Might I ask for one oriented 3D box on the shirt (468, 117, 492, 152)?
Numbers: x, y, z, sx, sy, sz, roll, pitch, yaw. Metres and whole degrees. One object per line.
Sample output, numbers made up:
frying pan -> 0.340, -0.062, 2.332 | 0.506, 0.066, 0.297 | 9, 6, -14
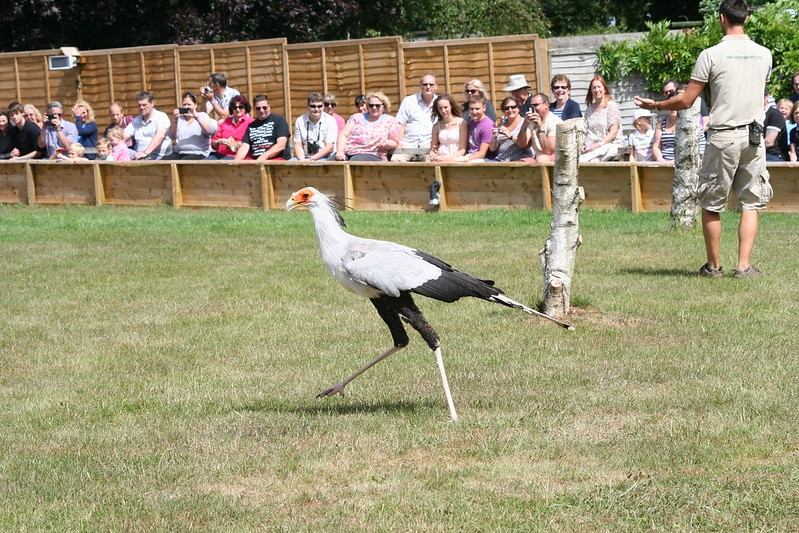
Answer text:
shirt -> 1.590, -2.573, 30.743 | 0.448, 0.647, 0.749 | 1, 3, -40

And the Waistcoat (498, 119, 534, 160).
Waistcoat -> 2.215, -2.450, 30.555 | 0.435, 0.734, 0.837 | -15, 18, -40

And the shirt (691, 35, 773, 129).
shirt -> 5.010, -2.799, 23.904 | 1.157, 1.371, 0.579 | -1, 14, 8

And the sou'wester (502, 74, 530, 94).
sou'wester -> 2.424, -3.721, 32.131 | 0.511, 0.282, 0.624 | 0, 11, 34

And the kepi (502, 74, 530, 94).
kepi -> 2.421, -3.716, 32.133 | 0.511, 0.283, 0.624 | 0, 11, 34

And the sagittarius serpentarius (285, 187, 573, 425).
sagittarius serpentarius -> -0.037, 0.448, 20.419 | 2.461, 2.922, 0.862 | -2, 14, 8

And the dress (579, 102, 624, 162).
dress -> 3.941, -2.655, 30.805 | 0.786, 1.103, 0.971 | -1, 13, 10
